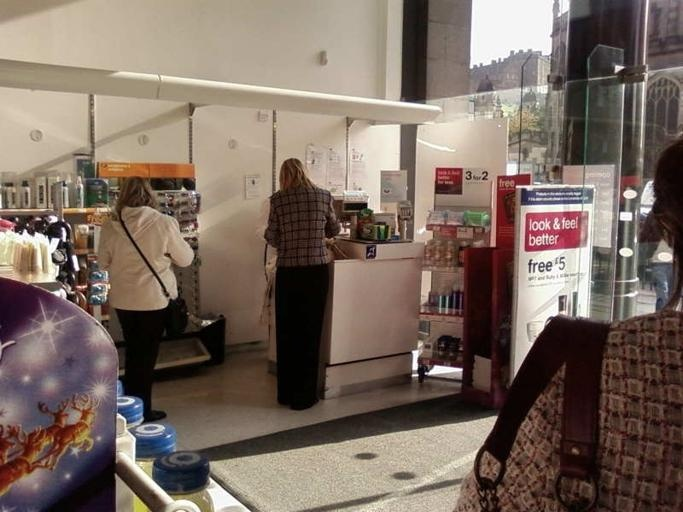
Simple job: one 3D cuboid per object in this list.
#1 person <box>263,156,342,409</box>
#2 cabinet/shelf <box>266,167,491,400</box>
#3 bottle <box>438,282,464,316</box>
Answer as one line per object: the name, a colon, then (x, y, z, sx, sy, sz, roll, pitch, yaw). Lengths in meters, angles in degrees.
person: (-0.333, 0.234, 4.595, 0.569, 2.070, 0.283, 0, 5, -8)
cabinet/shelf: (0.366, 0.311, 5.005, 1.472, 2.722, 1.780, -5, 8, -29)
bottle: (1.020, 0.394, 5.238, 0.223, 0.303, 0.301, -3, 8, -32)
